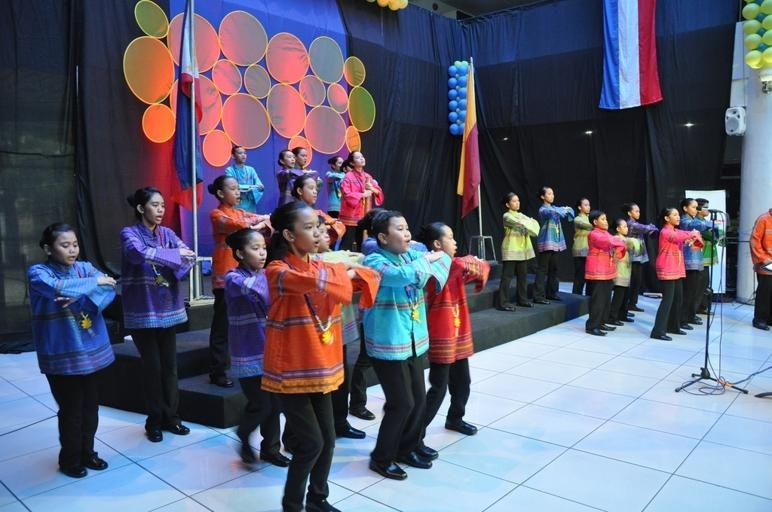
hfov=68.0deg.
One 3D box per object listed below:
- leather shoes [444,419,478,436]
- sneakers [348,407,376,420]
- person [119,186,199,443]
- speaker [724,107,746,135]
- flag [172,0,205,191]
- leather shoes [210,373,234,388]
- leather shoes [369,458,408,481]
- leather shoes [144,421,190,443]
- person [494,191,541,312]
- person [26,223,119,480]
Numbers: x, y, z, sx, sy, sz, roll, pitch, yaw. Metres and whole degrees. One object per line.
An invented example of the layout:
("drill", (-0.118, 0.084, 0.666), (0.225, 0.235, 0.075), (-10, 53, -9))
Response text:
("leather shoes", (0.624, 1.424, 4.768), (0.210, 0.081, 0.122), (-5, -8, 29))
("sneakers", (-0.208, 1.379, 5.034), (0.212, 0.083, 0.086), (-3, -4, 29))
("person", (-1.844, 0.459, 4.689), (0.558, 1.990, 0.553), (-7, 14, -25))
("speaker", (5.298, -2.034, 8.625), (0.331, 0.399, 0.225), (-4, 13, -16))
("flag", (-2.280, -1.815, 6.478), (0.327, 2.077, 0.725), (-5, 13, -17))
("leather shoes", (-1.431, 1.096, 5.007), (0.221, 0.086, 0.093), (-2, -6, 22))
("leather shoes", (0.021, 1.571, 4.239), (0.220, 0.086, 0.116), (-3, -7, 32))
("leather shoes", (-1.796, 1.420, 4.718), (0.393, 0.153, 0.140), (-1, -1, -18))
("person", (1.736, -0.057, 7.763), (0.605, 1.520, 0.640), (-4, 13, -15))
("person", (-2.299, 0.685, 4.299), (0.554, 1.829, 0.530), (-9, 15, -32))
